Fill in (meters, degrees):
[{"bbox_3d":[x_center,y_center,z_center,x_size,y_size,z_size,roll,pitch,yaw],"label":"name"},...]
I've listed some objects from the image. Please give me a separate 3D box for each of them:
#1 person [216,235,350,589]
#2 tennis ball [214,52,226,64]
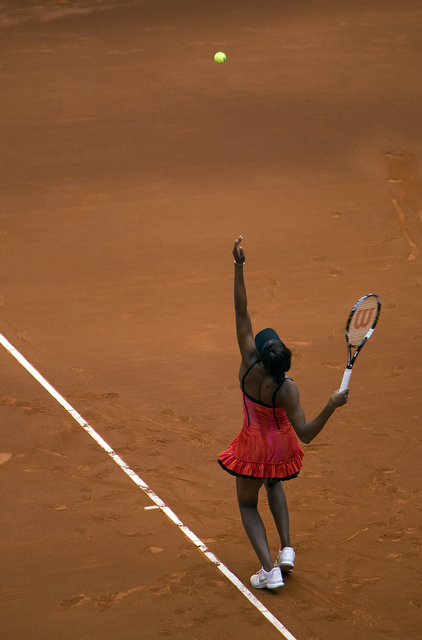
[{"bbox_3d":[0.374,0.600,5.236,0.488,2.276,0.941,-11,6,-29],"label":"person"},{"bbox_3d":[0.173,-4.440,13.930,0.204,0.180,0.114,-21,10,-30],"label":"tennis ball"}]
